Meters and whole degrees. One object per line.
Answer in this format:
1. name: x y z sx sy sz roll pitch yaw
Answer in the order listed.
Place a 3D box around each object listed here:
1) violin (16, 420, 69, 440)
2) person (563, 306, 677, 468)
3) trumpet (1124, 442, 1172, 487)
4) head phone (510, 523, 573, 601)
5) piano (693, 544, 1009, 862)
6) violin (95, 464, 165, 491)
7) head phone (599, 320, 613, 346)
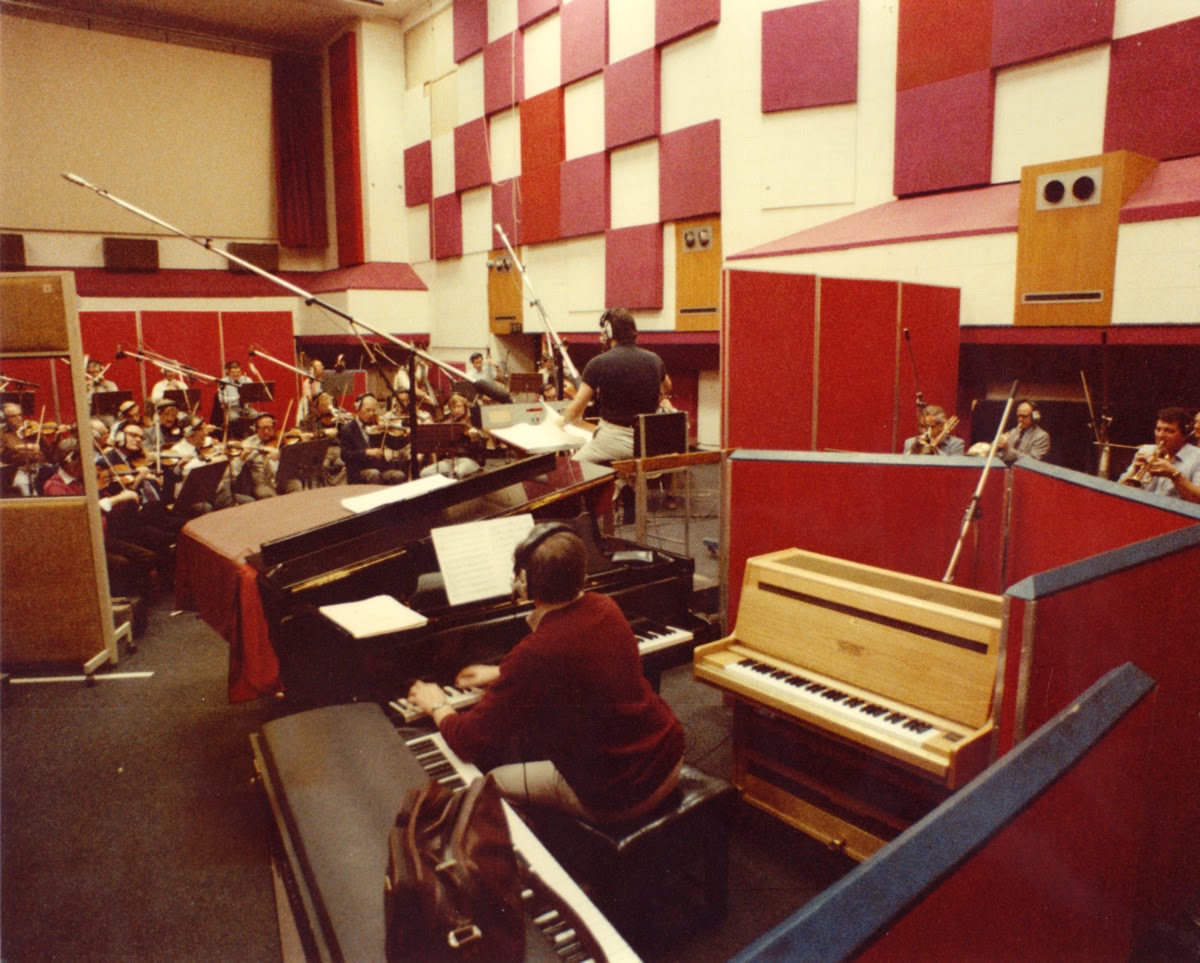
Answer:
1. violin: -5.018 -0.471 8.814 0.300 0.197 0.452 -5 -5 5
2. person: 0.097 -0.632 6.455 0.632 0.991 0.466 -2 7 1
3. trumpet: 3.429 -0.101 6.093 0.078 0.313 0.113 7 3 -26
4. head phone: -0.239 0.280 3.648 0.234 0.291 0.305 -4 2 -28
5. piano: 1.095 1.067 4.230 1.184 1.279 0.689 14 20 41
6. violin: -3.420 -0.014 7.136 0.430 0.123 0.230 6 2 -9
7. head phone: 0.046 -0.992 6.556 0.056 0.171 0.119 -1 -3 -4
